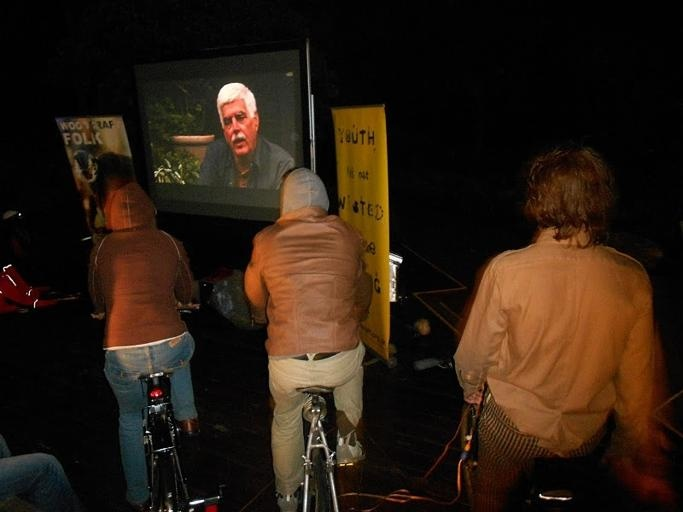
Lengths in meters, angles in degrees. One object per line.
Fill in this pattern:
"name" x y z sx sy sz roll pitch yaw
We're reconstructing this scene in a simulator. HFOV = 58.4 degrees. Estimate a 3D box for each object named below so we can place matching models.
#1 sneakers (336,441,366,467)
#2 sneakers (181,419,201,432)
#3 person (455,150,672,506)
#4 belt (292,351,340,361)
"sneakers" 0.076 1.755 5.472 0.253 0.242 0.177 15 -17 -34
"sneakers" -1.408 1.597 5.777 0.131 0.133 0.130 -8 10 -40
"person" 1.635 0.574 4.521 1.466 2.675 0.464 -3 11 -1
"belt" -0.202 0.805 4.955 0.363 0.069 0.048 -4 11 -4
